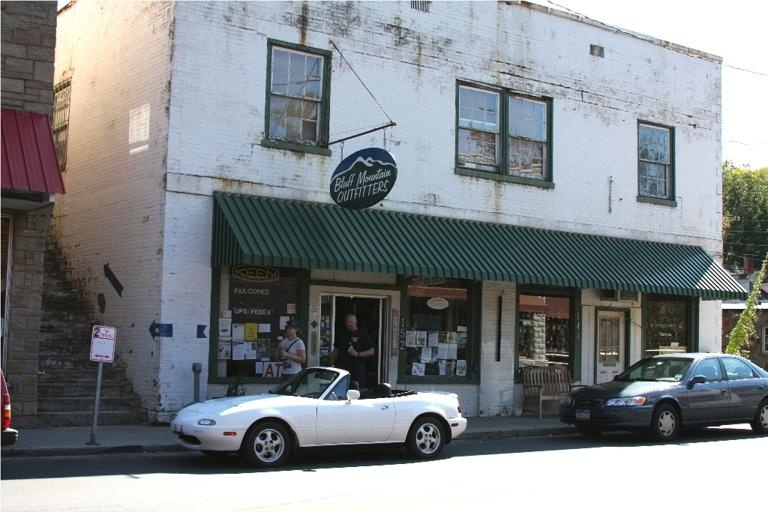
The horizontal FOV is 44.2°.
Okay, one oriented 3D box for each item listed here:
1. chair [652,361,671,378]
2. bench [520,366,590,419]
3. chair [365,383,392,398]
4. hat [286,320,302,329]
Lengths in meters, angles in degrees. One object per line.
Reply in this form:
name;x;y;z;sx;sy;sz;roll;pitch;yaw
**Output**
chair;6.571;2.710;22.499;0.336;0.292;0.560;5;22;15
bench;4.487;3.554;24.836;1.877;1.169;0.753;5;-3;-35
chair;-0.094;2.702;19.005;0.388;0.208;0.289;4;-9;6
hat;-2.081;1.514;21.240;0.214;0.207;0.270;-2;-21;9
